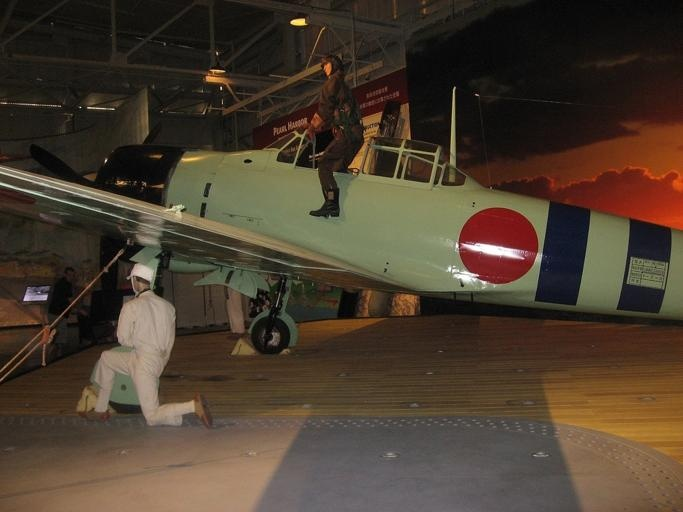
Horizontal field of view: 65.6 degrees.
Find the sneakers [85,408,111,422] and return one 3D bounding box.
[{"bbox_3d":[-1.981,1.281,4.309,0.205,0.054,0.125,-3,-8,36],"label":"sneakers"}]

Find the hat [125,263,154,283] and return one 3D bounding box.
[{"bbox_3d":[-1.685,0.144,4.509,0.170,0.110,0.213,22,-9,-40],"label":"hat"}]

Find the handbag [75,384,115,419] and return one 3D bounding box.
[{"bbox_3d":[-2.061,1.202,4.414,0.354,0.252,0.132,10,-11,-9],"label":"handbag"}]

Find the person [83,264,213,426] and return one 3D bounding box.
[{"bbox_3d":[-1.517,0.723,4.261,1.178,1.202,0.486,6,0,40],"label":"person"}]

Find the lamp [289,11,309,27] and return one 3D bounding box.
[{"bbox_3d":[-0.878,-5.094,11.336,0.320,0.323,0.521,5,1,-1],"label":"lamp"}]
